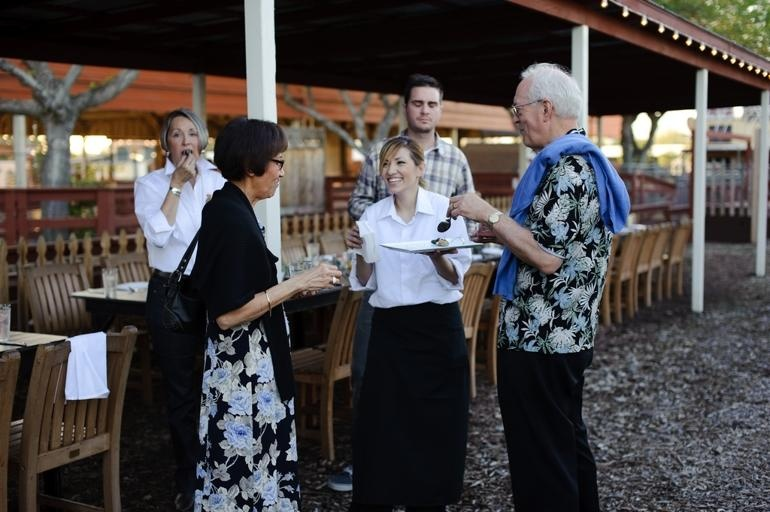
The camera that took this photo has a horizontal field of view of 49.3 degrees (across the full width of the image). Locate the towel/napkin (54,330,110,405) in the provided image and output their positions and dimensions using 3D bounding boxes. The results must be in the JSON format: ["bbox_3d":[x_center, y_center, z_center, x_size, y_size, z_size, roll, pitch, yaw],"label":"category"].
[{"bbox_3d":[-2.042,0.761,5.773,0.305,0.436,0.120,1,-6,-37],"label":"towel/napkin"}]

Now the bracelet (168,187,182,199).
[{"bbox_3d":[-1.599,-0.483,6.409,0.071,0.057,0.076,2,5,5],"label":"bracelet"}]

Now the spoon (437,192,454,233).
[{"bbox_3d":[0.422,-0.240,5.844,0.082,0.144,0.033,34,11,19],"label":"spoon"}]

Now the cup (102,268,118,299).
[{"bbox_3d":[-2.485,0.242,7.617,0.112,0.256,0.300,-3,5,-20],"label":"cup"}]

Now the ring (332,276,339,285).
[{"bbox_3d":[-0.328,0.153,5.529,0.043,0.066,0.022,-4,-12,1],"label":"ring"}]

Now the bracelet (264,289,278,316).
[{"bbox_3d":[-0.716,0.293,5.341,0.025,0.111,0.112,-9,20,2],"label":"bracelet"}]

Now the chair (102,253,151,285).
[{"bbox_3d":[-2.625,0.133,8.519,0.288,0.446,0.279,6,10,33],"label":"chair"}]
